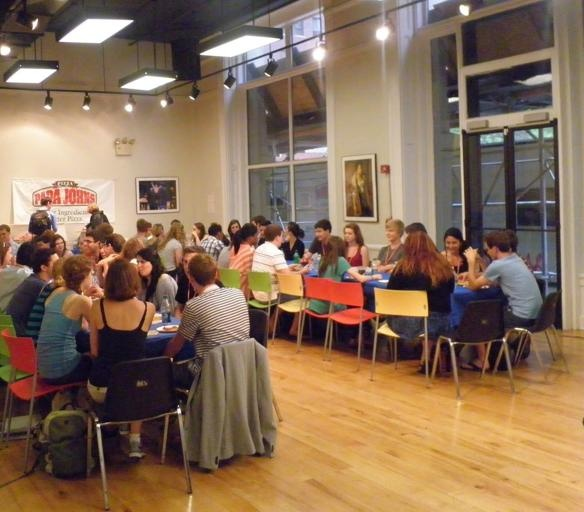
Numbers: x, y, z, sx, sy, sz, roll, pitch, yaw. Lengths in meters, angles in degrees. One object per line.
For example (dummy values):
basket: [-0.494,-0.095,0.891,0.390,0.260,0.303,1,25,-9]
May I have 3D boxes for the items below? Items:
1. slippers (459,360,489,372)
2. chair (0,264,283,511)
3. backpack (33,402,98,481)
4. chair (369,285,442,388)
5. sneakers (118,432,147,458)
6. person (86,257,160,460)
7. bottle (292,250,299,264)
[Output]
slippers: [1.821,1.126,5.105,0.272,0.111,0.101,1,1,39]
chair: [-1.002,0.742,3.596,1.161,2.221,1.280,-3,2,-30]
backpack: [-1.460,1.212,3.297,0.358,0.441,0.236,-3,5,-10]
chair: [1.139,0.698,5.041,0.729,1.262,0.787,1,8,25]
sneakers: [-1.102,1.314,3.534,0.105,0.167,0.230,0,-7,-20]
person: [-1.089,0.488,3.267,0.441,0.933,0.245,-2,5,-9]
bottle: [0.096,0.034,7.291,0.116,0.224,0.122,0,1,0]
